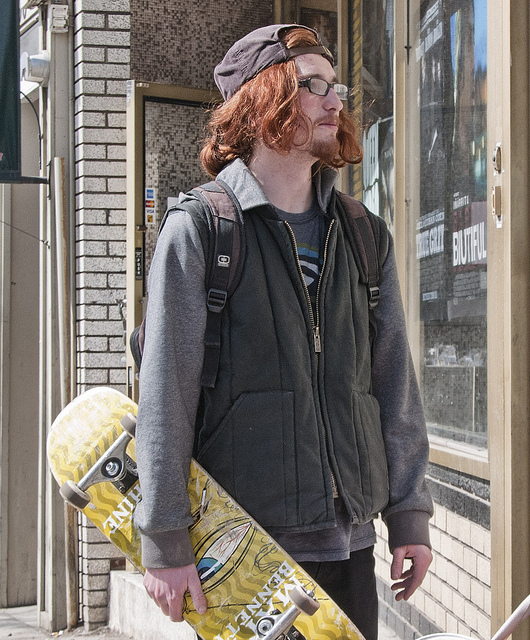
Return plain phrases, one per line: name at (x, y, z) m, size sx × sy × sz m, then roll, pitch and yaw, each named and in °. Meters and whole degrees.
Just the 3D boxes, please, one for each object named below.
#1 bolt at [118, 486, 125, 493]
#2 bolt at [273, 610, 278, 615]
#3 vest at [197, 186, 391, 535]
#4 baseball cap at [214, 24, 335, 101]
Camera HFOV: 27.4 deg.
bolt at (-0.398, 0.478, 3.034) m, size 0.010 × 0.015 × 0.004 m, roll -33°, pitch 8°, yaw 7°
bolt at (0.024, 0.742, 2.745) m, size 0.008 × 0.010 × 0.006 m, roll -2°, pitch 3°, yaw -5°
vest at (0.072, 0.121, 3.050) m, size 0.495 × 0.996 × 0.421 m, roll 2°, pitch -8°, yaw -33°
baseball cap at (0.018, -0.772, 3.231) m, size 0.364 × 0.222 × 0.206 m, roll 1°, pitch 7°, yaw 40°
